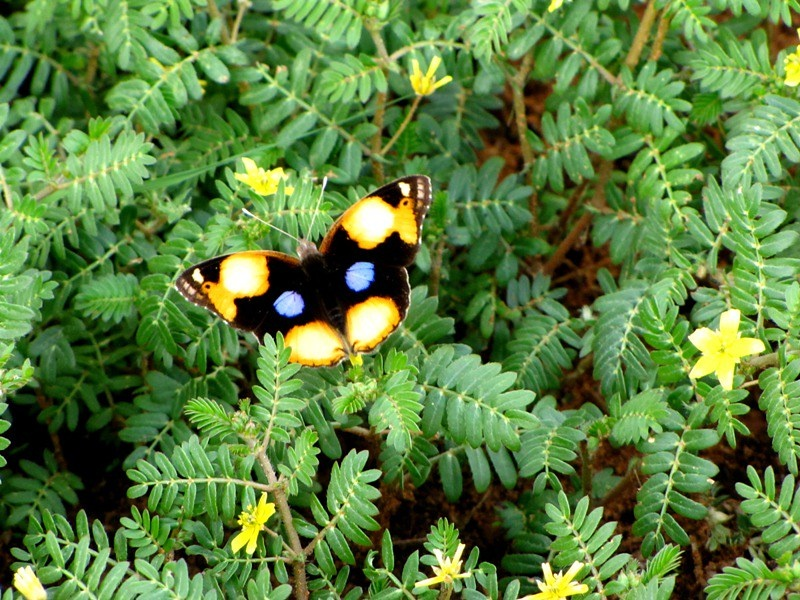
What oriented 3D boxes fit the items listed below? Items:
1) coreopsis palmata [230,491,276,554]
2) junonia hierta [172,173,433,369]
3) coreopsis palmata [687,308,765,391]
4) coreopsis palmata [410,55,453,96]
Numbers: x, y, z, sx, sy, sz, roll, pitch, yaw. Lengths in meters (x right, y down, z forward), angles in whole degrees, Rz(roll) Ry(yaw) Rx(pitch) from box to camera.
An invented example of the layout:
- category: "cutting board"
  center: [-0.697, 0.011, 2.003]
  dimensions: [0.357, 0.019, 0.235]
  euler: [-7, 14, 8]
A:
- category: "coreopsis palmata"
  center: [-0.520, 0.789, 2.837]
  dimensions: [0.105, 0.245, 0.113]
  euler: [19, 20, -6]
- category: "junonia hierta"
  center: [-0.318, -0.187, 3.127]
  dimensions: [0.799, 0.824, 0.290]
  euler: [23, 19, -2]
- category: "coreopsis palmata"
  center: [1.127, 0.174, 2.830]
  dimensions: [0.265, 0.280, 0.098]
  euler: [-7, 16, 14]
- category: "coreopsis palmata"
  center: [0.112, -0.959, 3.434]
  dimensions: [0.150, 0.083, 0.183]
  euler: [-13, 70, -15]
